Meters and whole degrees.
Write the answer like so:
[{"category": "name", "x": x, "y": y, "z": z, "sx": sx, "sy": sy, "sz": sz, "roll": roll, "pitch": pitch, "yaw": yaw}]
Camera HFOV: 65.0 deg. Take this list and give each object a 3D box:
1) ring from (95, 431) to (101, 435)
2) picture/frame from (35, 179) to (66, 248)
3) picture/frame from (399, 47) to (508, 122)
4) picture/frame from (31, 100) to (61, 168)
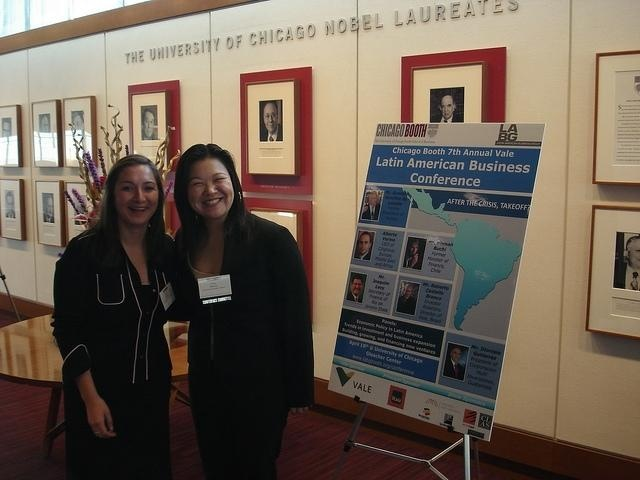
[{"category": "ring", "x": -1.124, "y": 0.970, "z": 2.527, "sx": 0.020, "sy": 0.005, "sz": 0.022, "roll": 6, "pitch": 20, "yaw": -2}, {"category": "picture/frame", "x": -3.424, "y": -0.359, "z": 6.374, "sx": 0.729, "sy": 1.104, "sz": 0.087, "roll": 6, "pitch": 7, "yaw": 40}, {"category": "picture/frame", "x": 1.009, "y": -1.142, "z": 3.677, "sx": 0.549, "sy": 0.582, "sz": 0.055, "roll": 4, "pitch": 7, "yaw": 36}, {"category": "picture/frame", "x": -3.437, "y": -1.351, "z": 6.297, "sx": 0.741, "sy": 1.003, "sz": 0.095, "roll": 6, "pitch": 6, "yaw": 40}]
